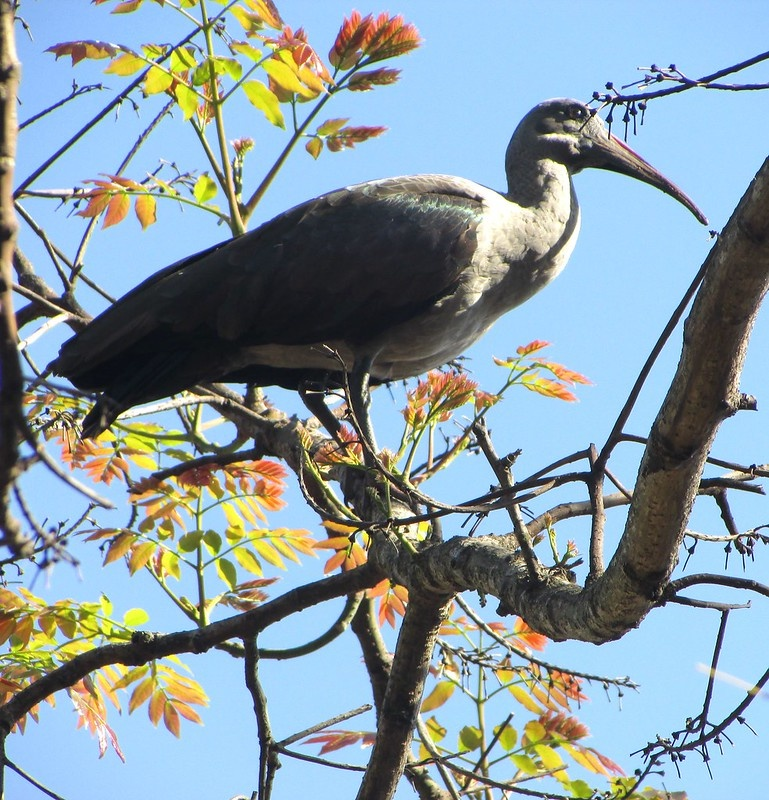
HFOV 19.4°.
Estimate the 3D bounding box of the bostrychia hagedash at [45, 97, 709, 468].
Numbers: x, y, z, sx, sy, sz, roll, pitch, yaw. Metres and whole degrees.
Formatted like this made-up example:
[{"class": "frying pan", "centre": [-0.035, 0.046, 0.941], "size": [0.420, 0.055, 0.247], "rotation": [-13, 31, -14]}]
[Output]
[{"class": "bostrychia hagedash", "centre": [-0.061, -0.408, 6.918], "size": [1.971, 0.641, 1.135], "rotation": [5, -101, 5]}]
